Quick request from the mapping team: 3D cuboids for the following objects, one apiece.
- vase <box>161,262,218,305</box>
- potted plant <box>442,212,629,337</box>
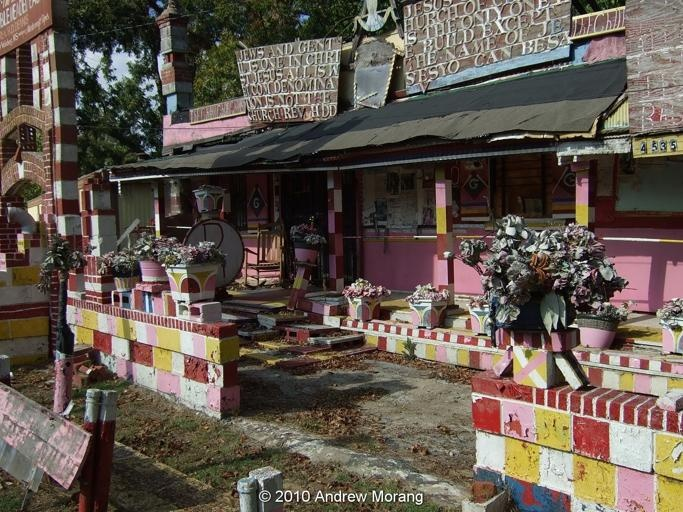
[{"bbox_3d":[-2.084,0.331,8.747,0.646,0.501,0.549,-2,1,-44],"label":"vase"},{"bbox_3d":[1.810,0.078,5.874,1.374,1.016,1.173,2,6,32],"label":"potted plant"}]
